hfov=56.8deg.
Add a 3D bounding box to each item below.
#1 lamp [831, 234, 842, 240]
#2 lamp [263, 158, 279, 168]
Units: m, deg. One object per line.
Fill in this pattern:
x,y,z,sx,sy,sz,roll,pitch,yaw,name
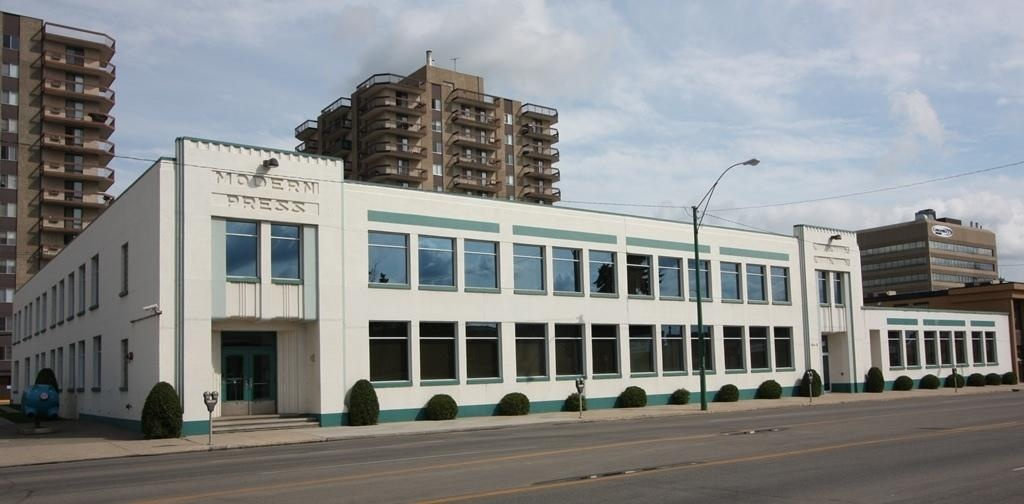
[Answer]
31.570,-1.403,92.214,1.176,0.509,0.490,3,-3,-37,lamp
-18.487,-6.747,72.215,0.736,0.359,0.958,6,-13,-38,lamp
